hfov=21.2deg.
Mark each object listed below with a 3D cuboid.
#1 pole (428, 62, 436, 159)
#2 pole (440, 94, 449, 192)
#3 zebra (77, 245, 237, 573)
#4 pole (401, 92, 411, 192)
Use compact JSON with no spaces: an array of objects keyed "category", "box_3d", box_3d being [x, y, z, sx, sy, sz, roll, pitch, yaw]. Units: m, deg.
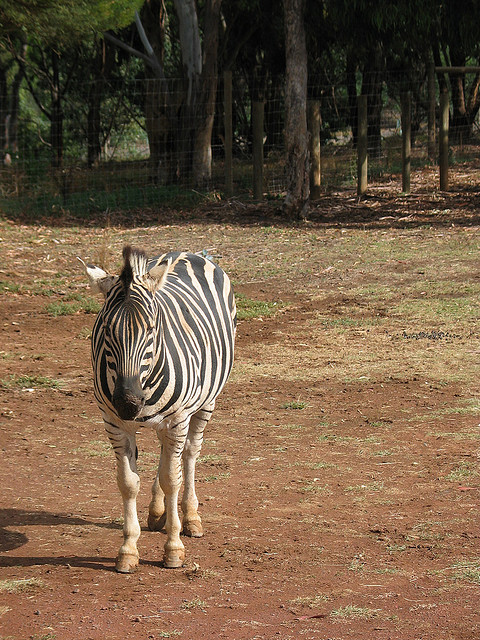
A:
[{"category":"pole","box_3d":[3.243,-3.465,21.687,0.116,1.675,0.125,-2,3,-40]},{"category":"pole","box_3d":[3.214,-2.742,20.205,0.176,1.519,0.664,2,7,9]},{"category":"zebra","box_3d":[-0.458,0.442,7.411,0.574,1.870,2.309,1,5,7]},{"category":"pole","box_3d":[2.579,-2.716,19.980,0.151,1.520,0.450,2,7,7]}]
